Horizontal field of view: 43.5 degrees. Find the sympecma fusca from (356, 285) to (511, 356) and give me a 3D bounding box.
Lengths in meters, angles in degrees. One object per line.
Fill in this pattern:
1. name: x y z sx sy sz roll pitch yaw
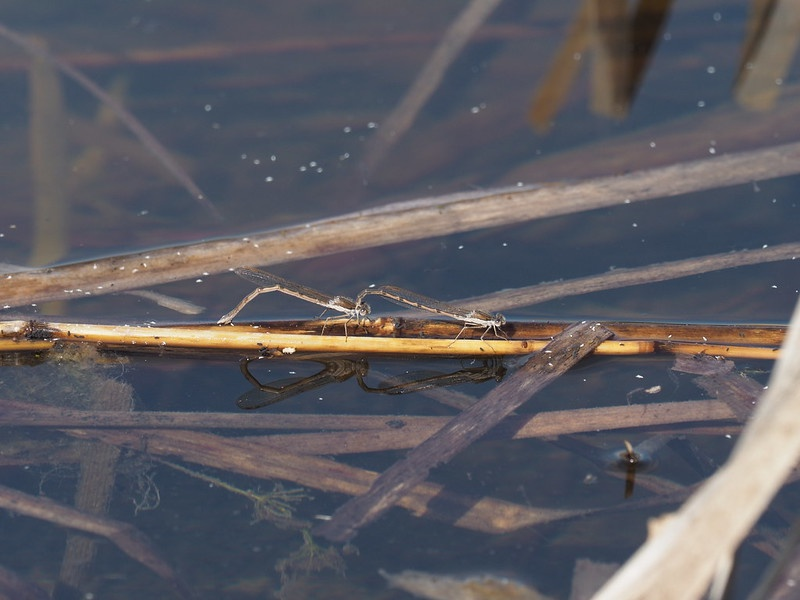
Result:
1. sympecma fusca: 0.115 0.064 4.481 0.714 0.109 0.175 14 -13 -21
